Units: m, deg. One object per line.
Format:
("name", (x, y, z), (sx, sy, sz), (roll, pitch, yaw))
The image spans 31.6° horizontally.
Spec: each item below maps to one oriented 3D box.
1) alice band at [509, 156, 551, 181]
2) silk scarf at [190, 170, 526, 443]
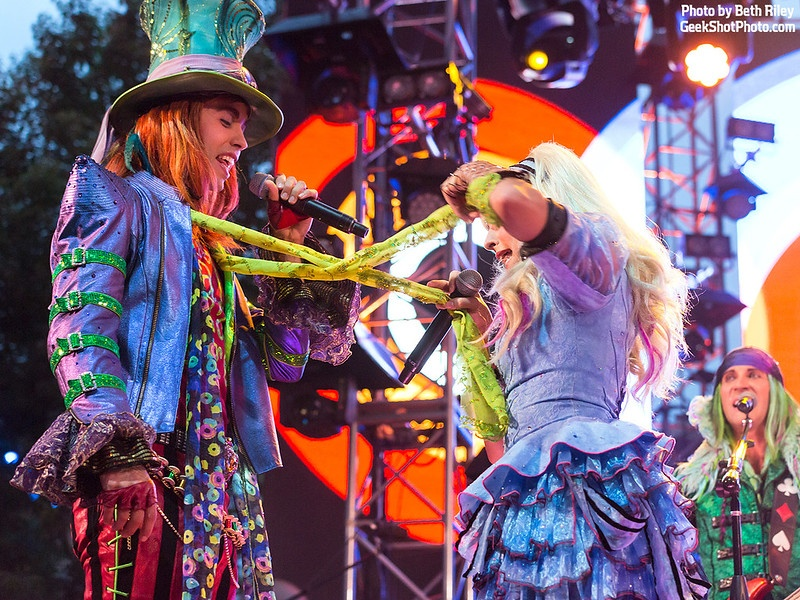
("alice band", (0.612, -0.635, 6.769), (0.148, 0.121, 0.117), (6, -18, 30))
("silk scarf", (-0.202, -0.086, 6.841), (1.381, 1.212, 0.151), (13, -21, 15))
